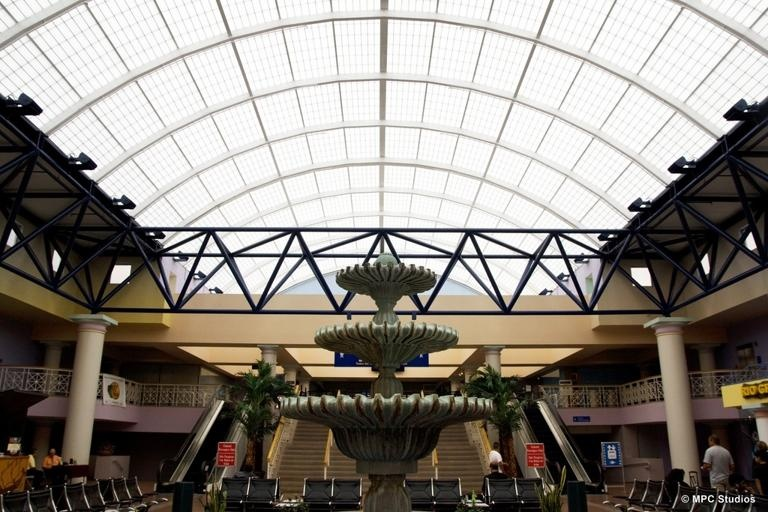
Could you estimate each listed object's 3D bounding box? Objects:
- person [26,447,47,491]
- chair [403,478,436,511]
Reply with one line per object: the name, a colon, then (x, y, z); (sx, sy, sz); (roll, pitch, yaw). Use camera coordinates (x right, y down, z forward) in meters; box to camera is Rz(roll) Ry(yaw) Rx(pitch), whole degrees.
person: (-13.379, 8.189, 20.725); (0.796, 1.409, 3.296); (13, -27, -29)
chair: (1.288, 8.554, 19.294); (0.950, 0.970, 0.676); (-2, -24, 3)
